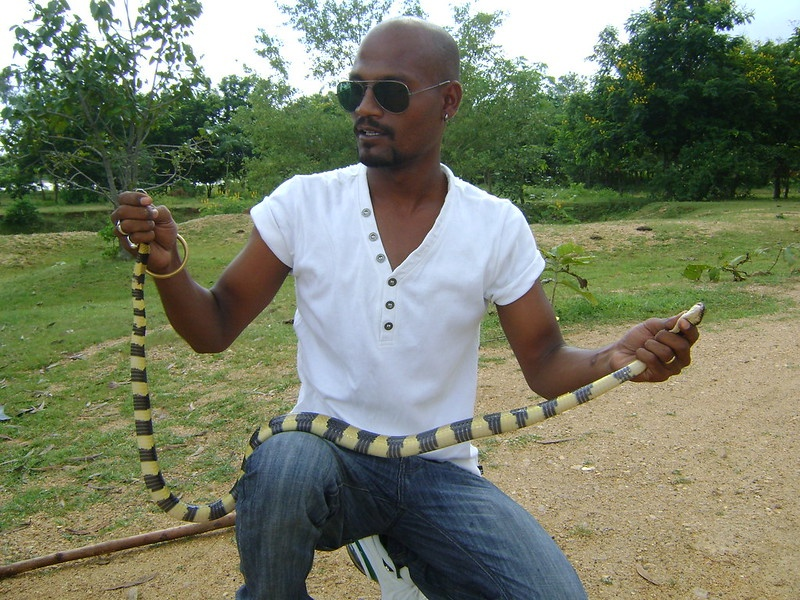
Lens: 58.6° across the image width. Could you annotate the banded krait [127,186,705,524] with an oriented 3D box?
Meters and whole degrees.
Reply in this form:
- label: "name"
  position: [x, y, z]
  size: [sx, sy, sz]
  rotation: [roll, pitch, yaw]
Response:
- label: "banded krait"
  position: [0.171, 0.358, 3.797]
  size: [3.474, 0.765, 1.501]
  rotation: [-3, 37, 3]
